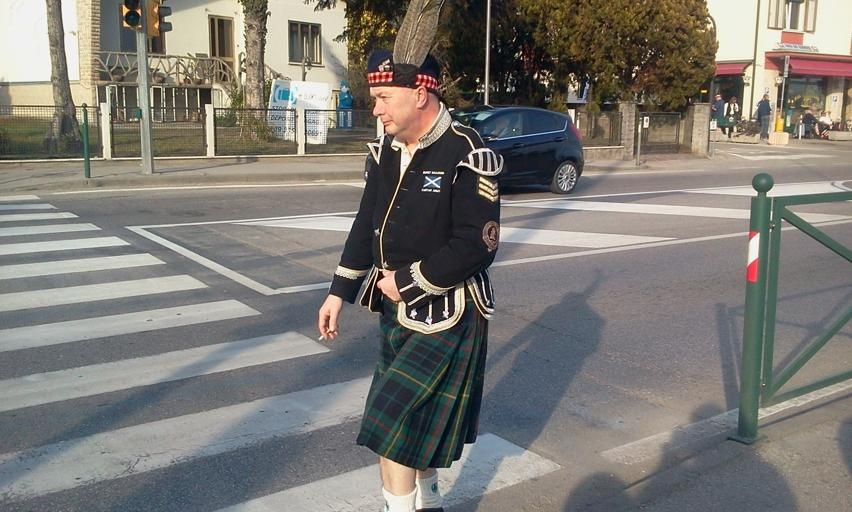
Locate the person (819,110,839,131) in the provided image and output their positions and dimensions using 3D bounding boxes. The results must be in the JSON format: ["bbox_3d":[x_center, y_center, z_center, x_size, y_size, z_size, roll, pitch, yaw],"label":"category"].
[{"bbox_3d":[27.115,-9.077,42.172,1.404,0.668,2.155,2,28,19],"label":"person"}]

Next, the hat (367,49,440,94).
[{"bbox_3d":[-0.130,-1.107,3.771,0.362,0.188,0.257,1,25,-6],"label":"hat"}]
